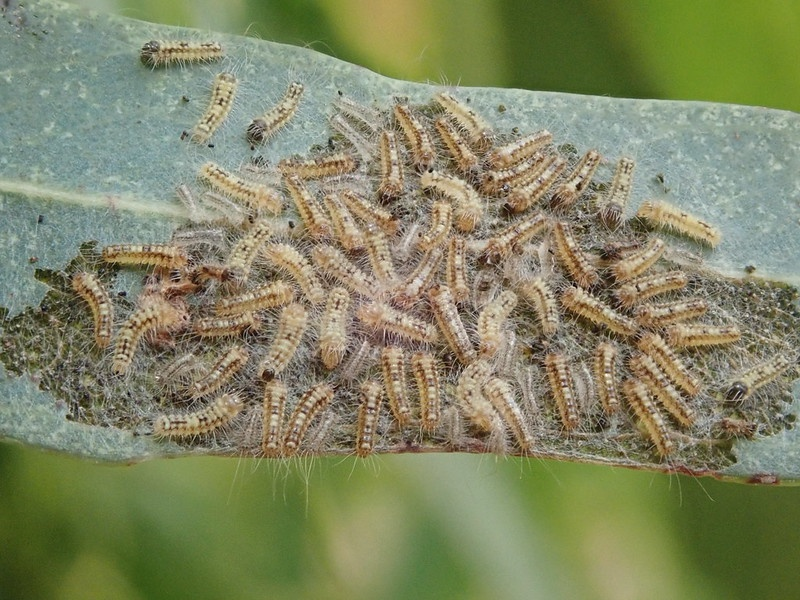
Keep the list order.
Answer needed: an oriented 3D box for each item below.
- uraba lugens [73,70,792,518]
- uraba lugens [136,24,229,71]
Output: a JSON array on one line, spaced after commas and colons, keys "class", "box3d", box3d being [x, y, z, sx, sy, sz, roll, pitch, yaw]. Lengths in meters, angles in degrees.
[{"class": "uraba lugens", "box3d": [0.555, 0.101, 8.142, 5.505, 0.844, 3.764, 6, 80, 1]}, {"class": "uraba lugens", "box3d": [-2.038, -2.346, 8.807, 0.577, 0.482, 0.314, -9, 104, -23]}]
